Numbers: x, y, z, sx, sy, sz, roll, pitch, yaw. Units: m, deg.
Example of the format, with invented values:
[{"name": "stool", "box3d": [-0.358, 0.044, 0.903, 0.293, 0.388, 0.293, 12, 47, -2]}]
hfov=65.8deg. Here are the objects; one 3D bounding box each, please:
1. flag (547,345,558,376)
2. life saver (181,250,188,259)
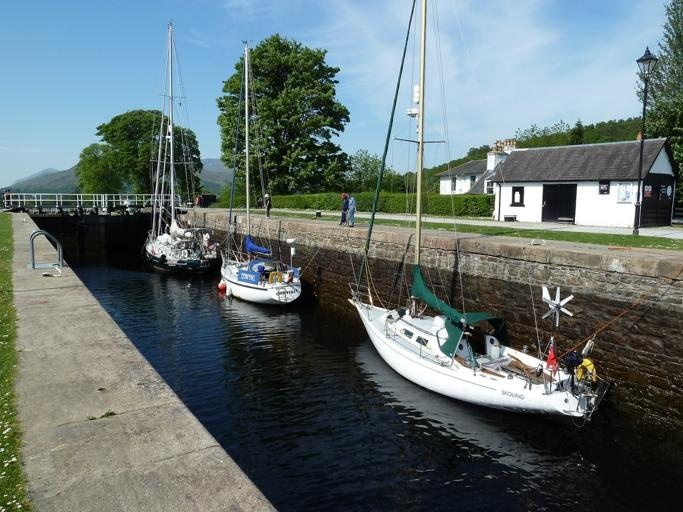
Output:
[{"name": "flag", "box3d": [4.898, 2.381, 12.214, 0.220, 0.851, 0.555, 2, 8, 22]}, {"name": "life saver", "box3d": [-8.798, -0.106, 29.462, 0.311, 0.485, 0.149, 2, -20, -2]}]
